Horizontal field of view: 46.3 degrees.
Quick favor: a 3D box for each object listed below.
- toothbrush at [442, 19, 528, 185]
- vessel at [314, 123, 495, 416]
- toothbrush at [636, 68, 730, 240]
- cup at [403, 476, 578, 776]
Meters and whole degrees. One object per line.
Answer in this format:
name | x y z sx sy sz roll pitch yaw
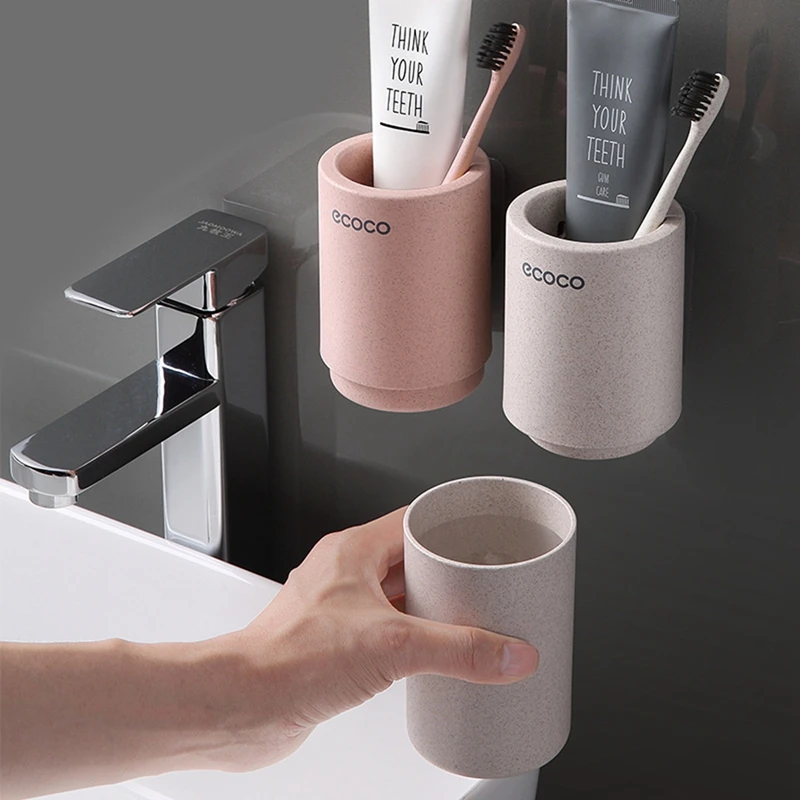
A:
toothbrush | 0.040 -0.142 0.436 0.009 0.092 0.017 -3 29 -45
vessel | 0.003 -0.073 0.507 0.092 0.134 0.120 -1 29 0
toothbrush | 0.118 -0.106 0.391 0.009 0.087 0.016 -12 38 -43
cup | 0.042 0.108 0.444 0.077 0.125 0.078 2 27 -1
